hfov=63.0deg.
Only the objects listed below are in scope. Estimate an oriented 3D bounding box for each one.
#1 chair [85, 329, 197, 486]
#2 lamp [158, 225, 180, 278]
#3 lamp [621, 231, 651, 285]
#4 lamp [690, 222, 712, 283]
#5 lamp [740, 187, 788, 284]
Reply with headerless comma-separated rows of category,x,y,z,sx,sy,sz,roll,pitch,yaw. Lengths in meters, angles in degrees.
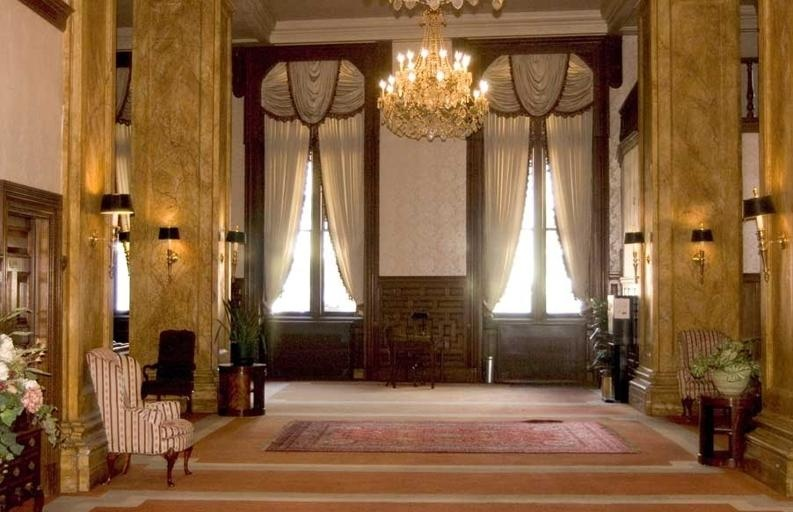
chair,-3.165,1.783,7.541,1.385,1.918,1.361,1,-4,-6
lamp,-3.735,-0.058,10.569,0.343,0.811,0.303,-1,2,-17
lamp,4.007,0.028,10.777,0.340,0.905,0.658,0,2,15
lamp,4.836,-0.015,10.207,0.347,0.922,0.229,0,2,16
lamp,4.362,-0.248,7.700,0.425,1.096,0.504,0,2,11
